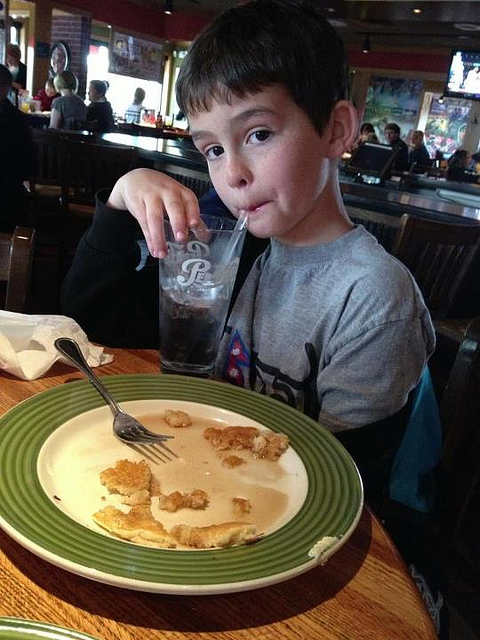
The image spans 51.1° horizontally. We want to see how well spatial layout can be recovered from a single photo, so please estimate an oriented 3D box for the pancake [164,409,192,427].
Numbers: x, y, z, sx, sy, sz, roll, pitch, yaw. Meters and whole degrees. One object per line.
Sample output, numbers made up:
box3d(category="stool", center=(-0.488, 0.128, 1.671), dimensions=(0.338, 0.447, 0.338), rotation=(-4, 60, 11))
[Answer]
box3d(category="pancake", center=(-0.082, 0.130, 0.663), dimensions=(0.036, 0.007, 0.033), rotation=(4, 21, -10))
